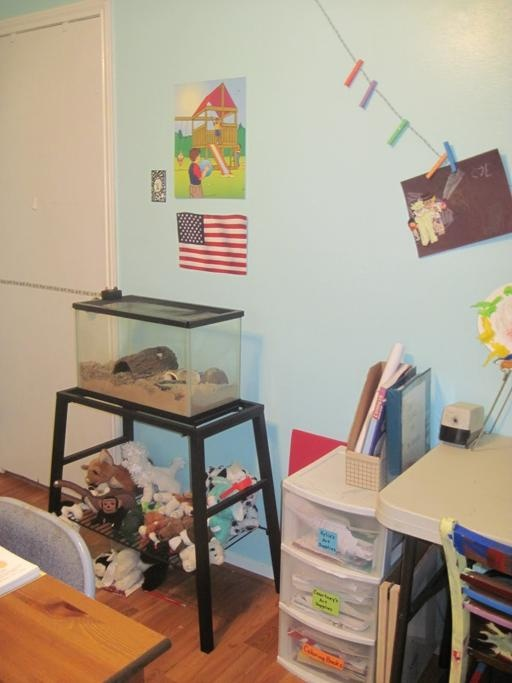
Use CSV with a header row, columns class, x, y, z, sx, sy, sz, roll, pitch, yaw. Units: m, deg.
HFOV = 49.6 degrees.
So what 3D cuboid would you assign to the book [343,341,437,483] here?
class,x,y,z,sx,sy,sz,roll,pitch,yaw
book,0.373,0.216,1.595,0.270,0.445,0.433,5,-16,11
